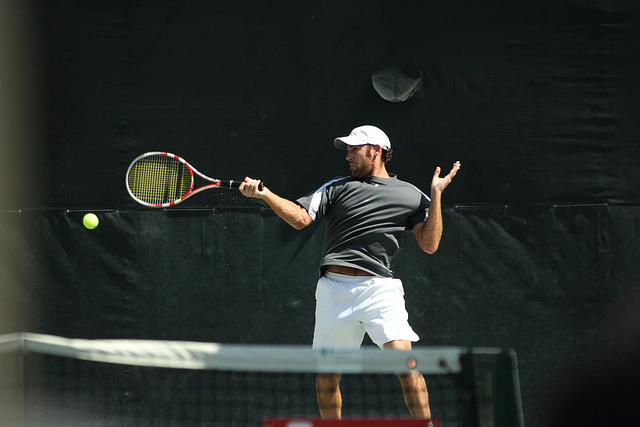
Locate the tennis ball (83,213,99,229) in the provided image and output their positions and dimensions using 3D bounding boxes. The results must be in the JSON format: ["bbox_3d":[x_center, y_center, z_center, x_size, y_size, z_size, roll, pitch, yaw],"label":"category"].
[{"bbox_3d":[-2.351,0.066,8.761,0.127,0.134,0.155,-9,45,-34],"label":"tennis ball"}]
